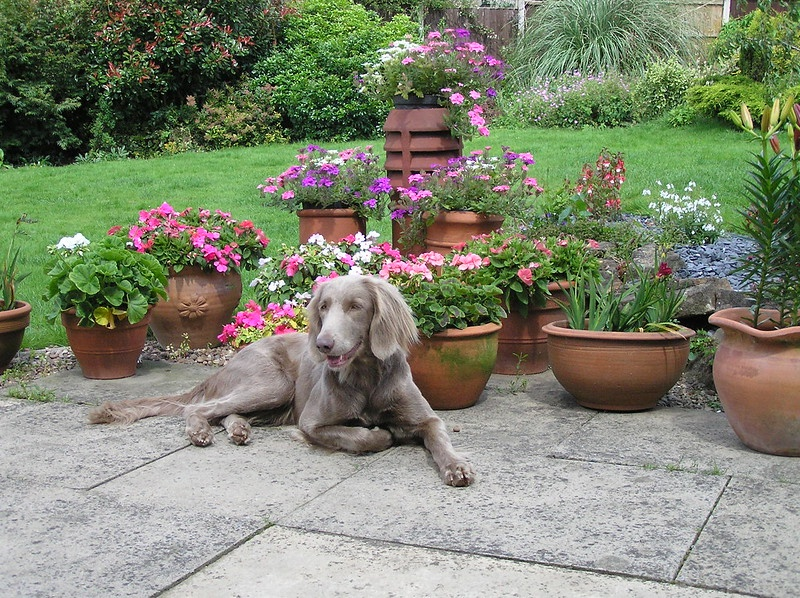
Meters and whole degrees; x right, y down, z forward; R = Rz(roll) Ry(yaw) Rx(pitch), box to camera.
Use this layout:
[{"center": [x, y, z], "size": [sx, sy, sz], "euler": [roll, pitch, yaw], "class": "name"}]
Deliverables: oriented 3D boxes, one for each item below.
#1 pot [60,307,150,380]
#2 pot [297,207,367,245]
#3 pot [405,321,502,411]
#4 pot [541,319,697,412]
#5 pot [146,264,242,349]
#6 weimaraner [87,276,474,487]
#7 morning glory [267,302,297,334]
[{"center": [-2.298, 0.321, 5.653], "size": [0.574, 0.428, 0.571], "euler": [0, 3, 0], "class": "pot"}, {"center": [-0.667, -0.706, 6.853], "size": [0.422, 0.245, 0.428], "euler": [-1, 6, 0], "class": "pot"}, {"center": [0.367, 0.457, 5.155], "size": [0.602, 0.441, 0.596], "euler": [-3, 0, 0], "class": "pot"}, {"center": [1.427, 0.448, 4.767], "size": [0.688, 0.370, 0.682], "euler": [0, -4, 0], "class": "pot"}, {"center": [-1.756, 0.081, 6.464], "size": [0.705, 0.625, 0.711], "euler": [0, 10, 0], "class": "pot"}, {"center": [-0.706, 0.461, 4.723], "size": [2.506, 1.168, 1.135], "euler": [-1, -3, 32], "class": "weimaraner"}, {"center": [-0.944, 0.149, 5.783], "size": [0.242, 0.234, 0.119], "euler": [-3, -3, 5], "class": "morning glory"}]
